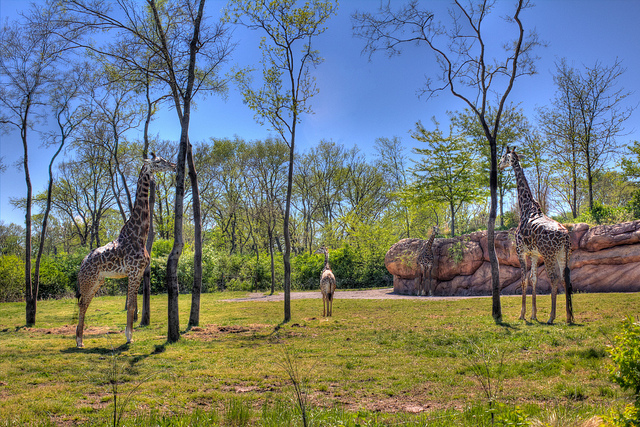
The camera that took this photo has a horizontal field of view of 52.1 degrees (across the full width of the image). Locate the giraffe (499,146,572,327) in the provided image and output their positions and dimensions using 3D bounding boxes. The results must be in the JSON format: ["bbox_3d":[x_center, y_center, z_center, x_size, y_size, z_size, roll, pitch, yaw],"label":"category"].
[{"bbox_3d":[11.320,1.263,33.543,1.872,8.302,5.466,-5,14,-11],"label":"giraffe"}]

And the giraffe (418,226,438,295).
[{"bbox_3d":[7.623,3.273,46.365,1.510,4.544,1.423,5,-10,-14],"label":"giraffe"}]

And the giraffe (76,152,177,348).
[{"bbox_3d":[-9.788,1.748,32.194,5.063,8.880,2.122,-9,15,-24],"label":"giraffe"}]
